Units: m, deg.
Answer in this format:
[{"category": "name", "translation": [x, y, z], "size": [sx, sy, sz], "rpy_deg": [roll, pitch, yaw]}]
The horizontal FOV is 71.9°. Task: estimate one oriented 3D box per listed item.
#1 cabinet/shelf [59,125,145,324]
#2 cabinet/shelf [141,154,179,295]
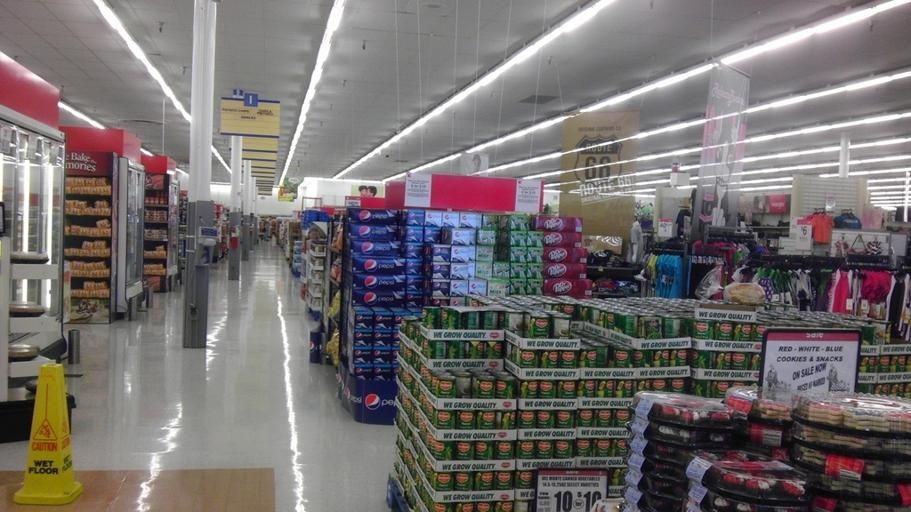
[{"category": "cabinet/shelf", "translation": [-7.214, -0.660, 12.919], "size": [1.499, 3.998, 1.323], "rpy_deg": [0, 1, -37]}, {"category": "cabinet/shelf", "translation": [-7.789, -0.870, 16.595], "size": [0.832, 3.590, 1.445], "rpy_deg": [0, 1, -24]}]
